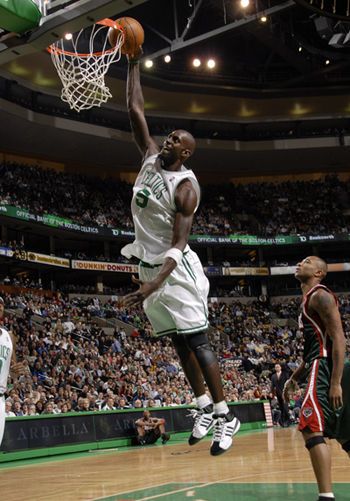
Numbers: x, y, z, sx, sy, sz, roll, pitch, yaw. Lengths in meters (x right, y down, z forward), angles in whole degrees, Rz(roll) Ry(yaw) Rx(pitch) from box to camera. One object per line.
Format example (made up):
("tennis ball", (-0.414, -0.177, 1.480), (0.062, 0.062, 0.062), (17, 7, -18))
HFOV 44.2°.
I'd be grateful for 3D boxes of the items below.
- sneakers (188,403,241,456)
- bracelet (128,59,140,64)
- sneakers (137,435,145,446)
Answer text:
("sneakers", (0.246, 0.984, 2.336), (0.235, 0.143, 0.346), (-1, 20, 33))
("bracelet", (-0.274, -1.242, 2.829), (0.058, 0.018, 0.056), (2, 5, 2))
("sneakers", (-0.742, 4.117, 9.345), (0.101, 0.285, 0.134), (-20, 4, 22))
